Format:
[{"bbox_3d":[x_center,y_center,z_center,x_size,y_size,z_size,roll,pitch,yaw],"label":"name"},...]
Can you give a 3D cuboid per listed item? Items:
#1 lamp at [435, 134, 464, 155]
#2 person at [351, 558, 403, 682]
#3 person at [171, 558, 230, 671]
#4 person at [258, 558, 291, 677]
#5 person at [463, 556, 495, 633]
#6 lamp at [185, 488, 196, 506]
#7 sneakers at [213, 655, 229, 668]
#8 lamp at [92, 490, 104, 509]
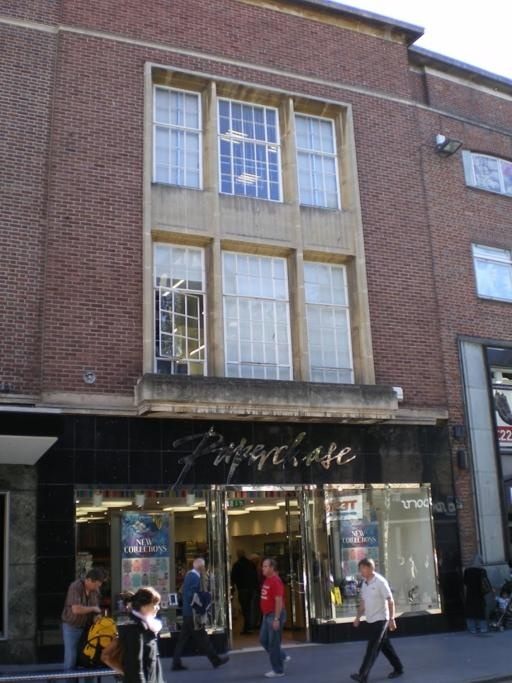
[{"bbox_3d":[4.400,-4.553,16.773,0.309,0.428,0.577,21,14,42],"label":"lamp"},{"bbox_3d":[1.568,3.643,9.734,0.615,1.533,3.092,-6,-14,8],"label":"person"},{"bbox_3d":[-0.819,3.819,10.132,0.739,1.468,0.647,-2,-14,-7],"label":"person"},{"bbox_3d":[0.210,3.601,9.492,0.341,1.464,0.966,-4,-14,0],"label":"person"},{"bbox_3d":[4.139,4.772,13.690,0.503,1.356,0.863,-7,-14,12],"label":"person"},{"bbox_3d":[-1.080,2.606,12.029,0.196,0.223,0.197,0,-3,5],"label":"lamp"},{"bbox_3d":[-0.488,4.438,10.036,0.193,0.181,0.442,-4,-14,-1],"label":"sneakers"},{"bbox_3d":[-2.434,2.450,11.248,0.185,0.253,0.062,9,-19,-43],"label":"lamp"}]
